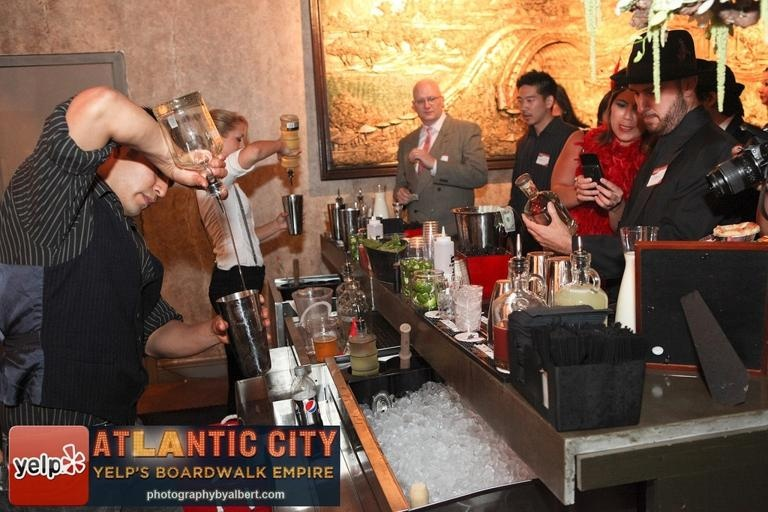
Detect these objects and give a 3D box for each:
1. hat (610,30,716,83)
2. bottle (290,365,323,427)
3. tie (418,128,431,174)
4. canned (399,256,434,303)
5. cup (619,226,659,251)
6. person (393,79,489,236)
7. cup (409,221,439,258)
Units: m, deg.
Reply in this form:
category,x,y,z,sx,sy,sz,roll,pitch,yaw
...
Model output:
category,x,y,z,sx,sy,sz,roll,pitch,yaw
hat,1.312,-0.945,2.574,0.342,0.161,0.391,11,10,31
bottle,-0.300,0.540,2.147,0.091,0.207,0.171,-7,12,-13
tie,0.333,-0.899,4.668,0.077,0.473,0.058,4,-24,1
canned,0.147,0.095,2.478,0.165,0.176,0.162,1,0,3
cup,0.874,-0.057,1.939,0.106,0.077,0.096,2,2,26
person,0.447,-0.851,4.675,0.559,1.188,0.806,-13,15,-34
cup,0.212,-0.079,2.707,0.211,0.191,0.110,-2,7,-16
